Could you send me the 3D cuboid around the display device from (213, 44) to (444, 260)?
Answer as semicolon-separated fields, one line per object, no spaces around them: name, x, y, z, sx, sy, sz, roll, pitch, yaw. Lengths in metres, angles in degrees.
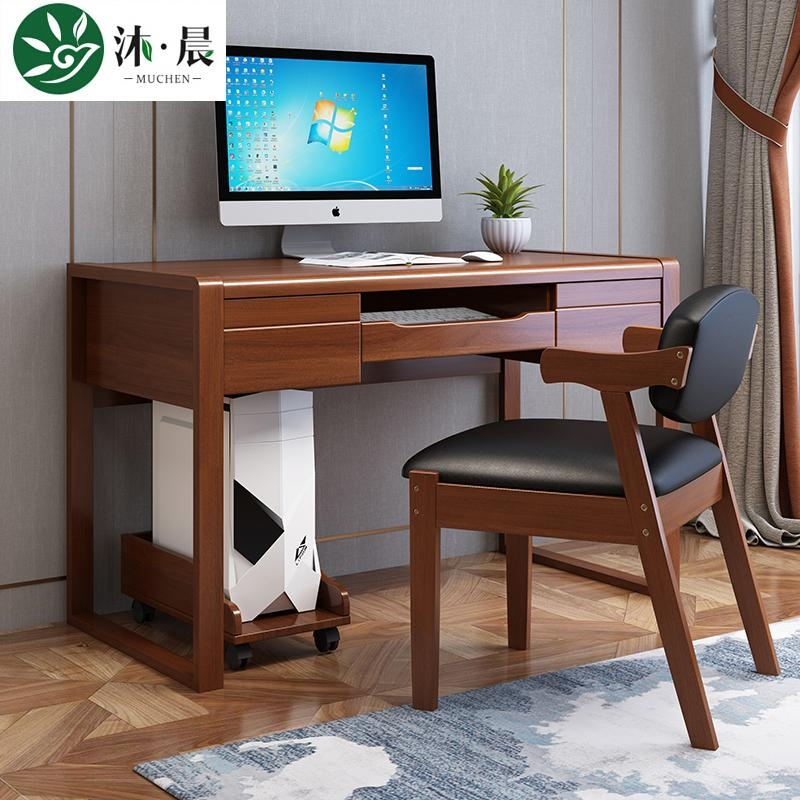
display device;-0.215;-0.623;1.956;0.657;0.461;0.209;-13;26;-36

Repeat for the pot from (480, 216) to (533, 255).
pot;0.288;-0.437;2.105;0.119;0.076;0.120;-1;3;0
